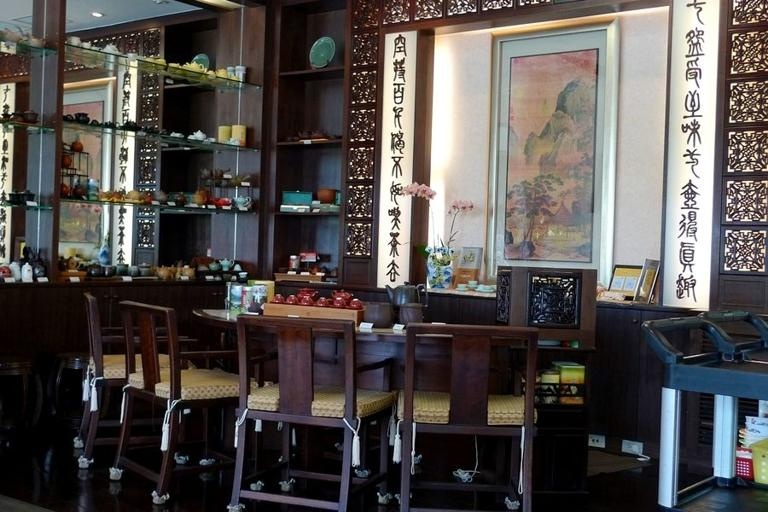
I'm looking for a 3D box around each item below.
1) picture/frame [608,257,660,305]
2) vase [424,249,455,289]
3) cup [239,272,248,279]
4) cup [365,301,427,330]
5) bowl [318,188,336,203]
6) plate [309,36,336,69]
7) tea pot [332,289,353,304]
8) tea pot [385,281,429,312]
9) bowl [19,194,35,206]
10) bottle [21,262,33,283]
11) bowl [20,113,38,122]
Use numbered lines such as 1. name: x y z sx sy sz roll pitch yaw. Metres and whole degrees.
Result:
1. picture/frame: 2.102 0.225 5.828 0.372 0.321 0.446 16 -7 -20
2. vase: 0.548 0.103 6.564 0.242 0.378 0.311 2 3 9
3. cup: -1.488 0.201 7.306 0.072 0.044 0.071 1 3 0
4. cup: 0.070 0.398 4.713 0.309 0.108 0.192 2 0 14
5. bowl: -0.590 -0.641 7.154 0.156 0.121 0.155 1 7 0
6. plate: -0.627 -2.159 7.198 0.331 0.325 0.072 -12 -14 32
7. tea pot: -0.287 0.287 4.830 0.109 0.051 0.131 9 11 35
8. tea pot: 0.171 0.276 4.892 0.259 0.168 0.173 3 2 17
9. bowl: -3.052 -0.501 5.907 0.048 0.117 0.139 3 4 31
10. bottle: -3.004 0.129 5.786 0.085 0.157 0.170 1 3 -24
11. bowl: -3.041 -1.205 5.900 0.104 0.087 0.033 0 3 -27
